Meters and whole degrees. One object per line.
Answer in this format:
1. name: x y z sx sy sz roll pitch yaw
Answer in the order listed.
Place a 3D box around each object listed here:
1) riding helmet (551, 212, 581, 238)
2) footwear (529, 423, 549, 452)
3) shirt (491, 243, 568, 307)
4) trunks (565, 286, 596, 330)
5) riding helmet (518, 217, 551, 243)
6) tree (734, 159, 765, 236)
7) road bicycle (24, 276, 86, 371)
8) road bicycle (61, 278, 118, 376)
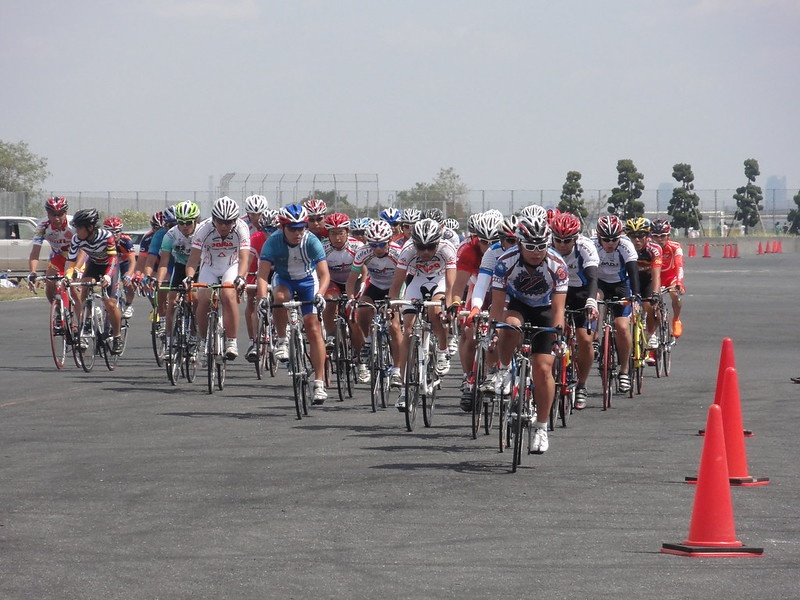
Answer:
1. riding helmet: 1.673 -0.745 12.587 0.288 0.229 0.516 1 5 6
2. footwear: 1.214 1.240 10.886 0.138 0.302 0.267 1 5 10
3. shirt: 1.180 -0.180 11.229 0.660 0.595 0.462 1 6 7
4. trunks: 1.900 0.143 13.502 0.137 0.225 0.462 -19 -29 -4
5. riding helmet: 1.156 -0.608 10.813 0.274 0.234 0.242 1 5 6
6. tree: 22.328 -6.591 79.355 1.810 5.223 24.069 2 5 16
7. road bicycle: -4.782 0.165 17.394 0.791 1.231 1.905 0 13 -11
8. road bicycle: -4.272 0.349 17.489 0.703 1.097 1.828 -3 -10 1
